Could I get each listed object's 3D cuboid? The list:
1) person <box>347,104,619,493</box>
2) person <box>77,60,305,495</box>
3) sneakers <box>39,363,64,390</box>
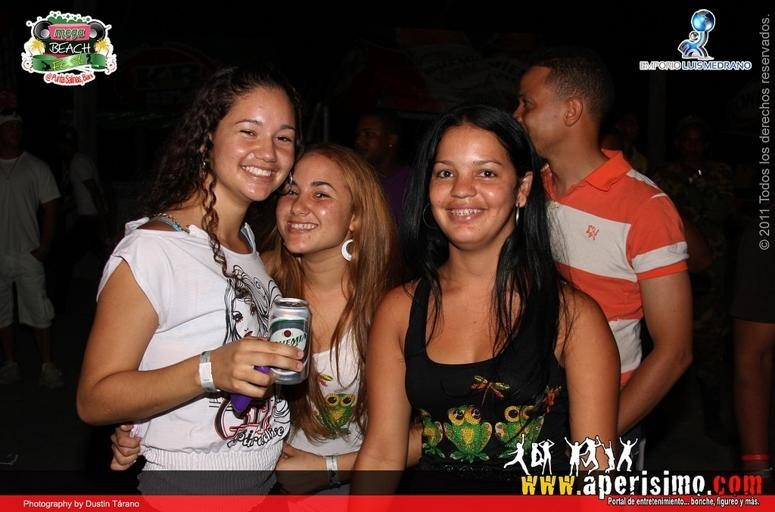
[{"bbox_3d":[0.544,0.239,3.135,1.390,2.074,0.738,2,16,5],"label":"person"},{"bbox_3d":[-1.046,0.173,3.047,0.990,2.334,0.941,0,15,0],"label":"person"},{"bbox_3d":[-3.985,1.430,6.673,0.179,0.190,0.439,0,-1,-45],"label":"sneakers"}]
